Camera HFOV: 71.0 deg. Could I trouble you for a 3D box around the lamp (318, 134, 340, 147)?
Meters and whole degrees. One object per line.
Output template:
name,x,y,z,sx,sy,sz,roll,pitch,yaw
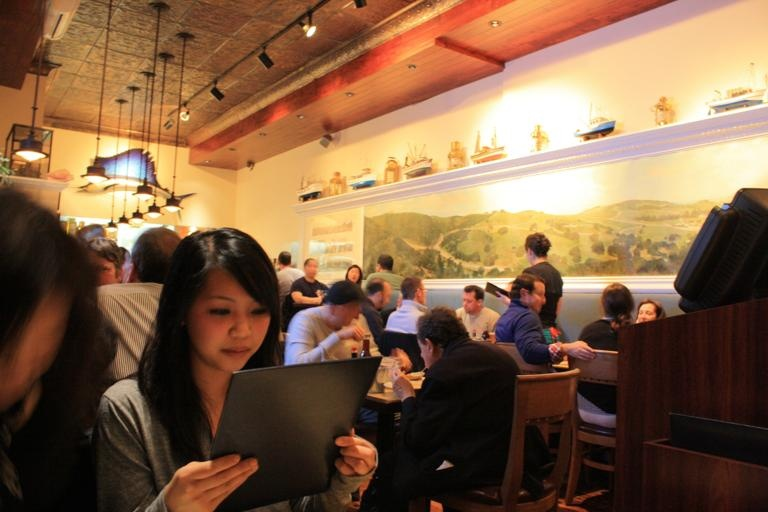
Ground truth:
lamp,-0.898,-1.889,8.760,0.126,0.215,0.535,-5,4,-34
